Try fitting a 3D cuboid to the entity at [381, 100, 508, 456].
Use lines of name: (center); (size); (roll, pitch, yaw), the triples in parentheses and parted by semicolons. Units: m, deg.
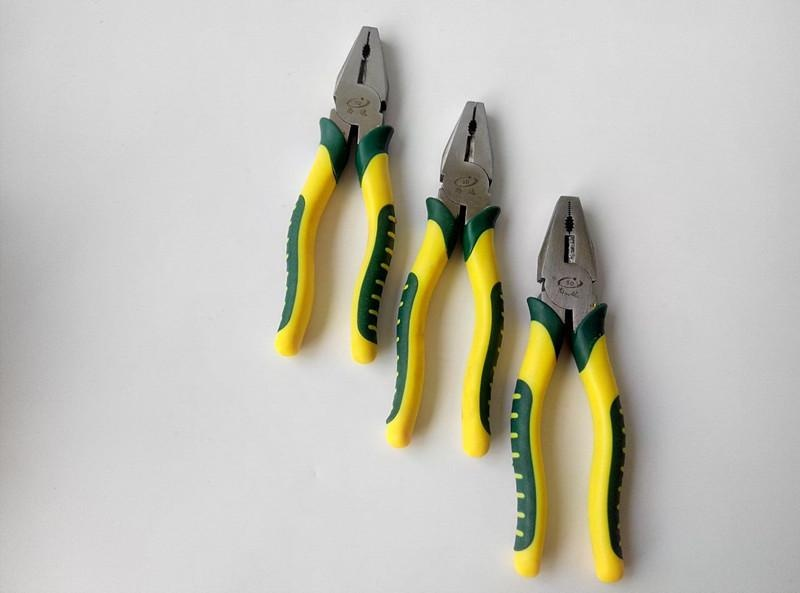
entity: (0.109, -0.036, 1.892); (0.182, 0.671, 0.071); (7, -1, 5)
